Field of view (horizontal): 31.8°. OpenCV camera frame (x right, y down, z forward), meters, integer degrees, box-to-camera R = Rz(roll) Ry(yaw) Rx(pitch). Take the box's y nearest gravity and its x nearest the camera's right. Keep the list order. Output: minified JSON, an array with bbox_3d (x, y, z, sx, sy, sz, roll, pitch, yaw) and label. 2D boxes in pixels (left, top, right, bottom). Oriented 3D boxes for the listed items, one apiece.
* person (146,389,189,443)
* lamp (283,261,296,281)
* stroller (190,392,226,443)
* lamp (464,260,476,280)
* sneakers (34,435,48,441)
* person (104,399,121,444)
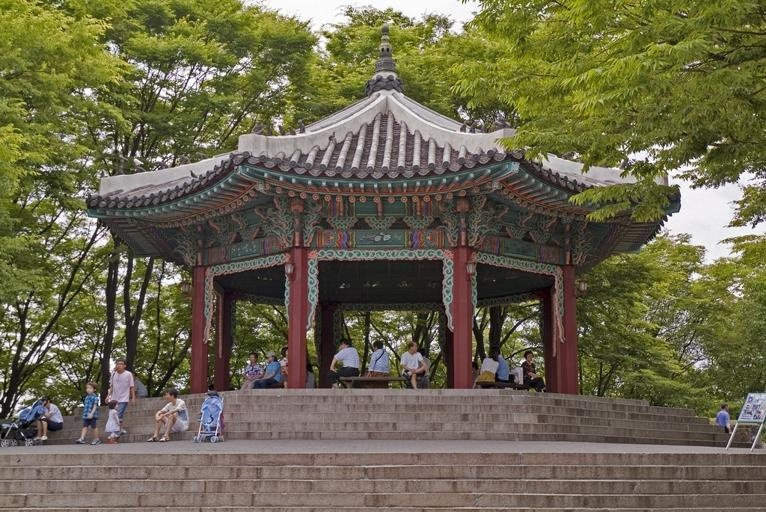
[{"bbox_3d":[-5.710,4.307,36.042,1.035,1.466,1.399,3,-13,-8],"label":"person"},{"bbox_3d":[-2.760,0.452,39.213,0.243,0.527,0.310,13,-18,-43],"label":"lamp"},{"bbox_3d":[-4.520,4.237,35.171,0.717,1.353,0.654,2,-13,-3],"label":"stroller"},{"bbox_3d":[2.576,0.367,39.118,0.336,0.684,0.165,11,-17,-38],"label":"lamp"},{"bbox_3d":[-9.606,5.153,37.773,0.335,0.142,0.119,4,-14,-10],"label":"sneakers"},{"bbox_3d":[-7.357,4.558,36.689,0.415,1.190,1.446,4,-13,-11],"label":"person"}]
